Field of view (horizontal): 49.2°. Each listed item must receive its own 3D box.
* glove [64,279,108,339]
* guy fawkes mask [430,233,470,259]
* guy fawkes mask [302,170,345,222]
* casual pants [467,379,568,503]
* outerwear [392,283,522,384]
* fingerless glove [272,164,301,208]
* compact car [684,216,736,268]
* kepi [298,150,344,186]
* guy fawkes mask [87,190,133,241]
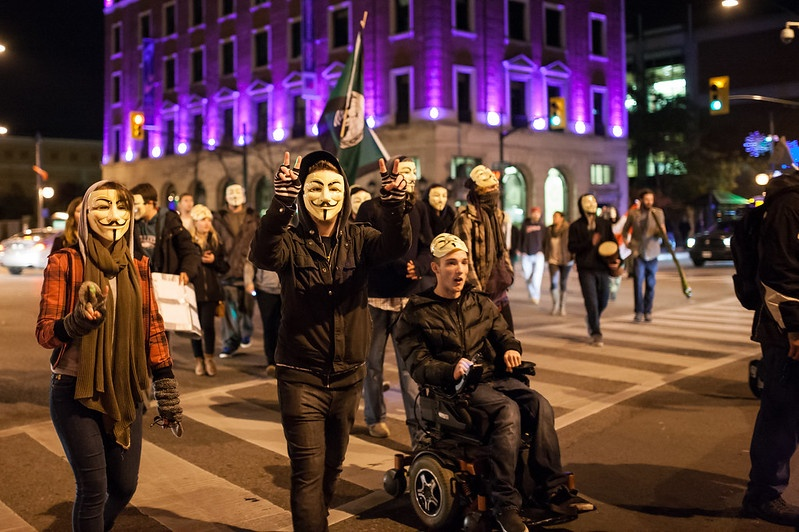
[{"bbox_3d":[-2.522,0.360,7.013,0.377,0.470,0.246,1,1,45],"label":"glove"},{"bbox_3d":[0.494,-0.192,8.458,0.261,0.165,0.361,-4,4,2],"label":"guy fawkes mask"},{"bbox_3d":[-0.655,-0.615,7.581,0.501,0.602,0.366,-1,5,-10],"label":"guy fawkes mask"},{"bbox_3d":[1.049,1.587,7.926,0.827,1.021,0.589,0,1,-28],"label":"casual pants"},{"bbox_3d":[0.512,0.642,8.350,1.208,0.978,0.842,-8,0,-31],"label":"outerwear"},{"bbox_3d":[-0.903,-0.667,7.280,0.183,0.333,0.362,1,1,15],"label":"fingerless glove"},{"bbox_3d":[11.443,-0.839,32.117,1.450,1.716,1.909,1,1,18],"label":"compact car"},{"bbox_3d":[-0.688,-0.867,7.555,0.271,0.242,0.319,-2,16,1],"label":"kepi"},{"bbox_3d":[-2.440,-0.427,7.293,0.237,0.514,0.377,-4,3,44],"label":"guy fawkes mask"}]
